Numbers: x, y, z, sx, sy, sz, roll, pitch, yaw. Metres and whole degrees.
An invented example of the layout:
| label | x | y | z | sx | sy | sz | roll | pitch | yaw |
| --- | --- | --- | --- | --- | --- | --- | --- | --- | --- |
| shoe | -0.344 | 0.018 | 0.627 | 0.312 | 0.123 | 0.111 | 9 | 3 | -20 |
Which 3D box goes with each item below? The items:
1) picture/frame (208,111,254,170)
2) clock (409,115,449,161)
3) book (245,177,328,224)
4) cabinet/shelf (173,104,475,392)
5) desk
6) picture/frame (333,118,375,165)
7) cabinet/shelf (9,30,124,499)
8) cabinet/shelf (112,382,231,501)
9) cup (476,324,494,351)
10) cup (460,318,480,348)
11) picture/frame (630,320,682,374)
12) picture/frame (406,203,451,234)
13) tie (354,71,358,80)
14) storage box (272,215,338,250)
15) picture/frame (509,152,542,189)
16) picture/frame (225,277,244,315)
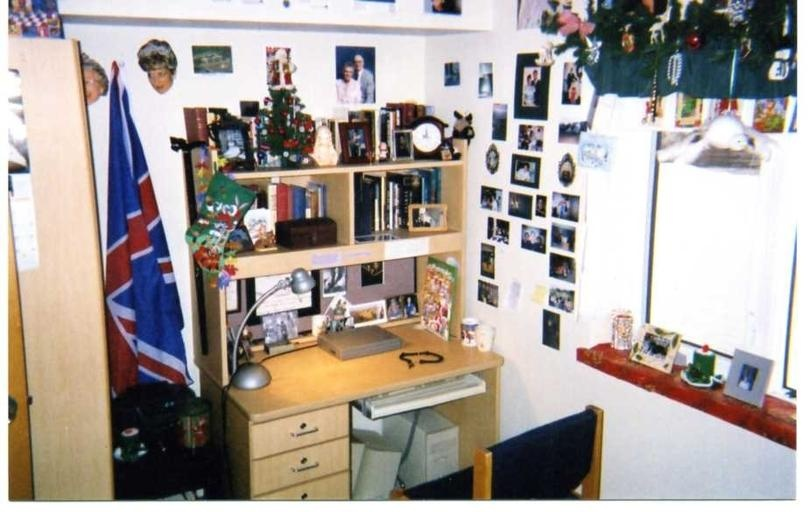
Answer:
| label | x | y | z | sx | sy | sz | roll | pitch | yaw |
| --- | --- | --- | --- | --- | --- | --- | --- | --- | --- |
| picture/frame | -0.956 | -0.578 | 3.374 | 0.240 | 0.384 | 0.234 | -6 | -16 | -8 |
| clock | 0.137 | -0.742 | 3.749 | 0.251 | 0.267 | 0.195 | -1 | 28 | 2 |
| book | -0.644 | -0.313 | 3.515 | 0.305 | 0.399 | 0.278 | 2 | 2 | -3 |
| cabinet/shelf | -0.133 | -0.020 | 3.670 | 1.565 | 1.406 | 0.505 | -7 | -6 | 35 |
| desk | -0.268 | 0.990 | 3.751 | 1.391 | 0.886 | 0.720 | -10 | 23 | -24 |
| picture/frame | -0.295 | -0.642 | 3.531 | 0.264 | 0.291 | 0.041 | -7 | 9 | -25 |
| cabinet/shelf | -1.661 | 0.124 | 2.965 | 0.464 | 2.211 | 0.271 | -7 | 15 | -20 |
| cabinet/shelf | -1.285 | 1.025 | 3.348 | 0.541 | 0.626 | 0.341 | -8 | 15 | -21 |
| cup | 0.465 | 0.469 | 3.644 | 0.129 | 0.141 | 0.132 | 1 | 6 | 0 |
| cup | 0.378 | 0.452 | 3.697 | 0.137 | 0.149 | 0.144 | 0 | 8 | 0 |
| picture/frame | 1.267 | 0.460 | 3.125 | 0.203 | 0.222 | 0.017 | 25 | 8 | 33 |
| picture/frame | 0.131 | -0.227 | 3.748 | 0.192 | 0.134 | 0.020 | 0 | 8 | -6 |
| tie | -0.304 | -1.105 | 3.807 | 0.034 | 0.046 | 0.014 | -6 | 4 | -5 |
| storage box | -0.548 | -0.131 | 3.492 | 0.323 | 0.149 | 0.171 | -10 | 16 | -29 |
| picture/frame | 0.689 | -0.489 | 3.523 | 0.191 | 0.185 | 0.014 | 17 | 18 | 42 |
| picture/frame | -1.013 | 0.210 | 3.607 | 0.020 | 0.198 | 0.118 | -1 | 1 | 22 |
